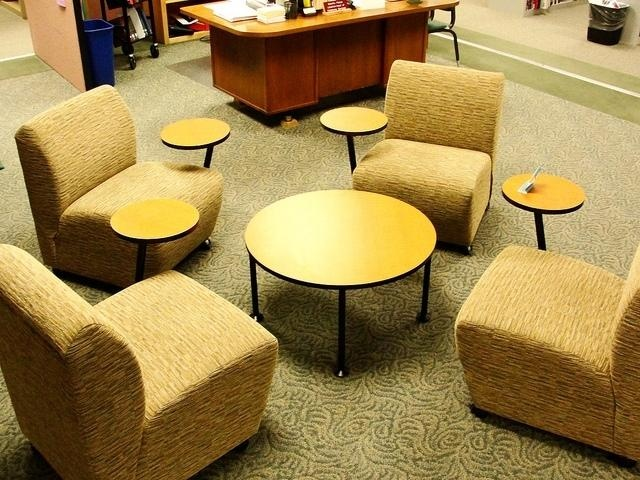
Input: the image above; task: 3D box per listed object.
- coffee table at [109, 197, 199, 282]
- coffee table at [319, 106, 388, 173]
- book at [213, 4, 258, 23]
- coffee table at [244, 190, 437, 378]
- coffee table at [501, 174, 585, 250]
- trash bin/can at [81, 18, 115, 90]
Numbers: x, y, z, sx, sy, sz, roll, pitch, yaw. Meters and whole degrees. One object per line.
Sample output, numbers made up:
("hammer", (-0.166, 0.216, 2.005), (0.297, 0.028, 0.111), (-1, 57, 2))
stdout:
("coffee table", (-0.788, -0.060, 2.700), (0.591, 0.492, 0.463), (-3, 45, -15))
("coffee table", (0.237, -0.662, 3.594), (0.469, 0.369, 0.370), (-12, 27, -9))
("book", (-0.830, -2.228, 4.848), (0.386, 0.120, 0.605), (-10, 32, -13))
("coffee table", (0.226, 0.258, 3.090), (1.183, 0.539, 1.115), (23, 42, 30))
("coffee table", (1.386, -0.152, 3.091), (0.420, 0.415, 0.397), (-33, 48, -15))
("trash bin/can", (-2.375, -2.038, 5.470), (0.390, 0.634, 0.671), (-15, 38, -13))
